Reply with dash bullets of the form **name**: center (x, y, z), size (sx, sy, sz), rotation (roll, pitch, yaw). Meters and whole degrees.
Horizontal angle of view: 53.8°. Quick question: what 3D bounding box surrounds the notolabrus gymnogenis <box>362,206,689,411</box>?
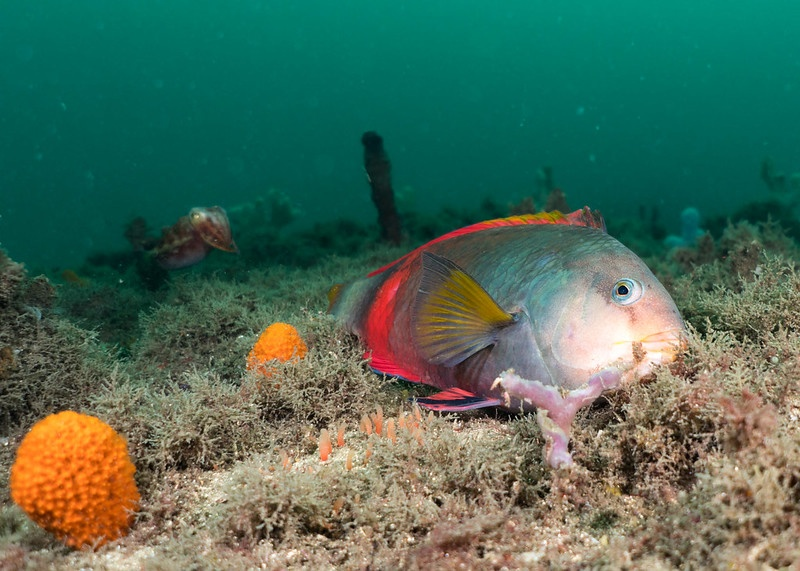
- **notolabrus gymnogenis**: center (1.754, 0.445, 12.250), size (4.483, 1.585, 2.727), rotation (-1, 65, -1)

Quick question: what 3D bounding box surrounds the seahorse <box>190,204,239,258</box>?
- **seahorse**: center (-3.637, -1.094, 15.492), size (0.666, 0.533, 1.122), rotation (-31, 70, -14)
